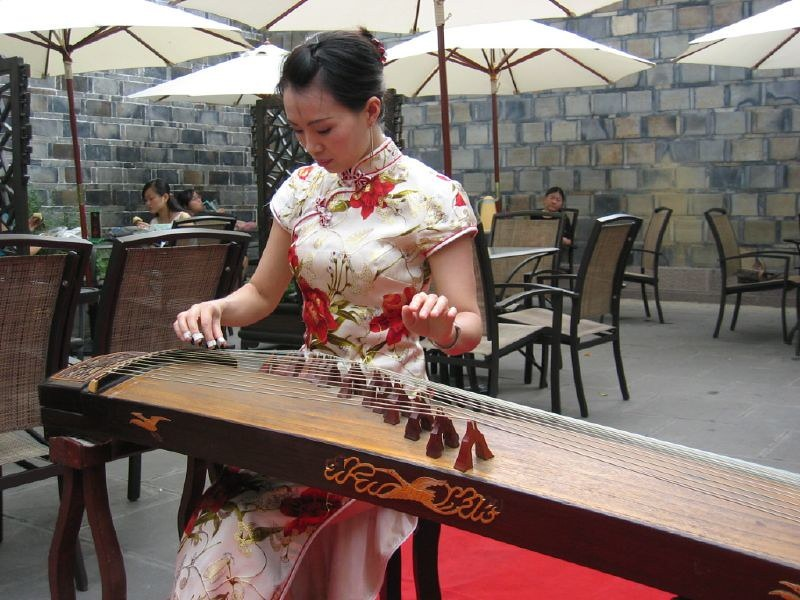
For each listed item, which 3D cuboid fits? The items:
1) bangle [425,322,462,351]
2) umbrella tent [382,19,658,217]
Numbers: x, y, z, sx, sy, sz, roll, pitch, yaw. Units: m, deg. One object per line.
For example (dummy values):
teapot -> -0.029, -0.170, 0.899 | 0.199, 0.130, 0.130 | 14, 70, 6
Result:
bangle -> 0.095, 0.080, 1.407 | 0.069, 0.052, 0.025 | 1, -2, 11
umbrella tent -> 1.255, -2.419, 8.401 | 3.278, 1.602, 2.665 | -15, 29, -22
